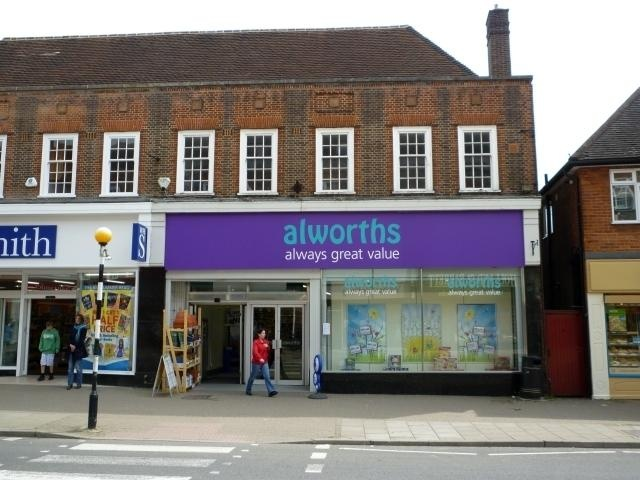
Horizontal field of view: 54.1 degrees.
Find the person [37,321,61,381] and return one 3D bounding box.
[{"bbox_3d":[-9.380,3.826,21.748,0.621,1.994,0.776,2,-9,-24],"label":"person"}]

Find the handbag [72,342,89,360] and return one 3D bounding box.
[{"bbox_3d":[-7.747,3.615,20.188,0.726,0.650,0.405,7,-13,-36],"label":"handbag"}]

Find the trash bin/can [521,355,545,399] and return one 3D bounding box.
[{"bbox_3d":[6.729,4.423,19.961,0.755,1.268,0.810,5,-14,3],"label":"trash bin/can"}]

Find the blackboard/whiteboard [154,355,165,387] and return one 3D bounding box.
[{"bbox_3d":[-5.174,4.255,20.250,0.336,1.024,1.008,7,-8,-7],"label":"blackboard/whiteboard"}]

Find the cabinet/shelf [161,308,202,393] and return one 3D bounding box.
[{"bbox_3d":[-4.538,3.613,20.321,0.649,2.292,2.513,-2,-3,-1],"label":"cabinet/shelf"}]

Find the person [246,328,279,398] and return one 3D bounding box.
[{"bbox_3d":[-1.909,3.969,20.364,0.970,2.077,1.465,-1,-8,-4],"label":"person"}]
